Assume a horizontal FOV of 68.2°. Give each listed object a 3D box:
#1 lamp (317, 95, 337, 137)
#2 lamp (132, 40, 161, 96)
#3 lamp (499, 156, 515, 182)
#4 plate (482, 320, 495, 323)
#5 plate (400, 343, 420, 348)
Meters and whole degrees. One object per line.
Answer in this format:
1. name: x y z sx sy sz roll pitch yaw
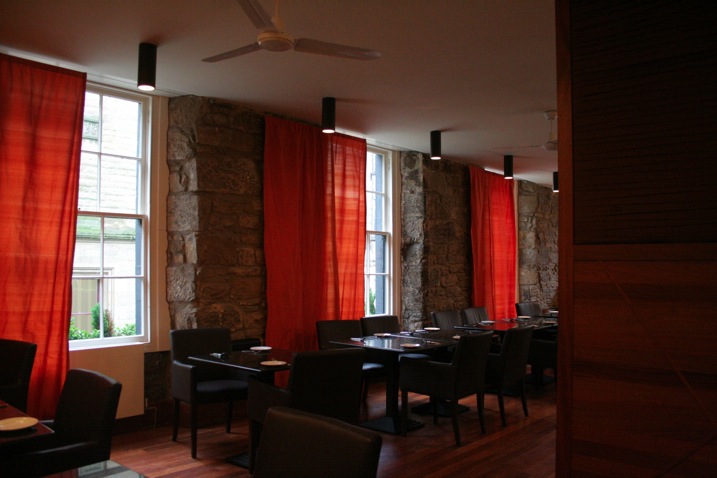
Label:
1. lamp: -0.297 -1.214 5.191 0.141 0.347 0.200 1 0 -6
2. lamp: -1.653 -1.347 4.150 0.138 0.360 0.253 1 0 -21
3. lamp: 2.122 -1.025 7.502 0.146 0.274 0.377 1 0 15
4. plate: 1.619 1.036 6.665 0.087 0.021 0.086 3 -6 -44
5. plate: 0.441 0.917 4.585 0.160 0.015 0.153 1 0 -5
